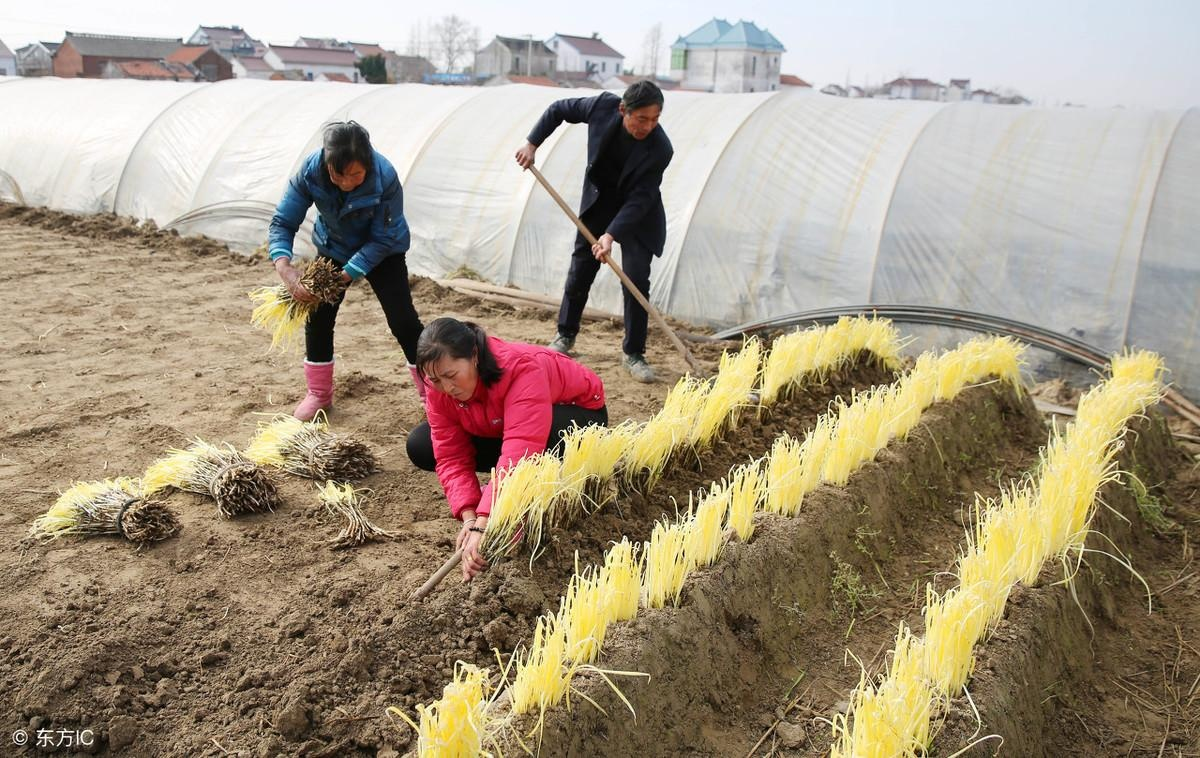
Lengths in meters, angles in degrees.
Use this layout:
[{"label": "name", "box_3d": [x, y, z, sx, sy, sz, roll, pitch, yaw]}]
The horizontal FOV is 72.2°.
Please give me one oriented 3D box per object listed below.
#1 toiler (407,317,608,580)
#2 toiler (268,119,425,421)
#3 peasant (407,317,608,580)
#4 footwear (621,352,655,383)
[{"label": "toiler", "box_3d": [-0.639, 0.287, 5.301, 1.125, 1.655, 1.649, 2, 1, 5]}, {"label": "toiler", "box_3d": [-1.902, -0.831, 6.479, 1.365, 2.370, 1.210, -13, 30, -31]}, {"label": "peasant", "box_3d": [-0.649, 0.360, 5.312, 1.125, 1.655, 1.649, 2, 1, 5]}, {"label": "footwear", "box_3d": [0.364, -0.119, 7.848, 0.166, 0.156, 0.379, -24, 41, -32]}]
